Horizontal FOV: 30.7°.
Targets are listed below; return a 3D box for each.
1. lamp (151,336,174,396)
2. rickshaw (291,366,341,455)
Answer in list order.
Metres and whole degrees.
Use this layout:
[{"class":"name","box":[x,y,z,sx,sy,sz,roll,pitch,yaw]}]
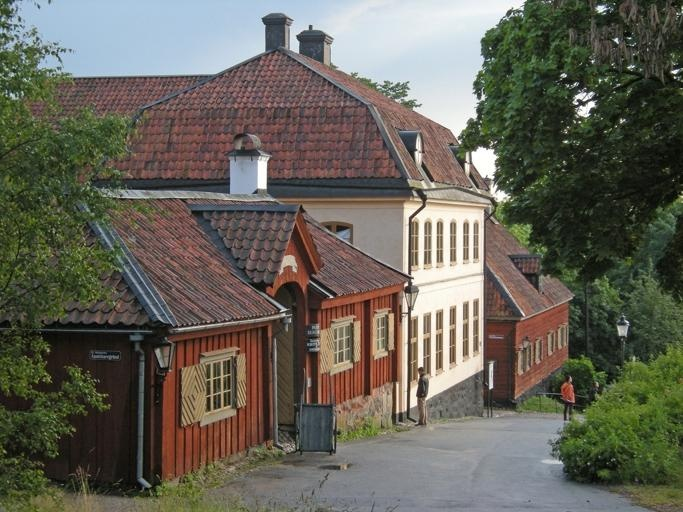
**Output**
[{"class":"lamp","box":[-3.232,2.026,22.562,0.398,1.137,0.370,-4,-9,-10]},{"class":"rickshaw","box":[-0.397,3.556,26.410,0.928,1.186,0.769,-3,-6,27]}]
